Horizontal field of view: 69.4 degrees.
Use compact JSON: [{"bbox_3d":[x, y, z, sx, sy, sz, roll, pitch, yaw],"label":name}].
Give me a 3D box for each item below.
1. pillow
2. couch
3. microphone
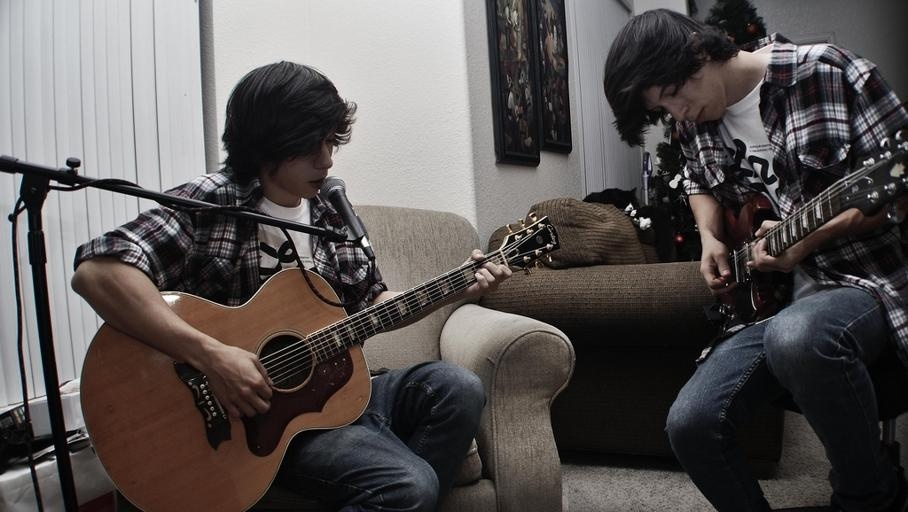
[{"bbox_3d":[0.722,-0.074,3.559,0.302,0.167,0.442,-16,23,-42],"label":"pillow"},{"bbox_3d":[1.157,0.349,3.786,1.558,1.119,1.693,-2,2,35],"label":"couch"},{"bbox_3d":[-0.384,-0.205,2.436,0.120,0.445,0.117,-21,-29,-16],"label":"microphone"}]
